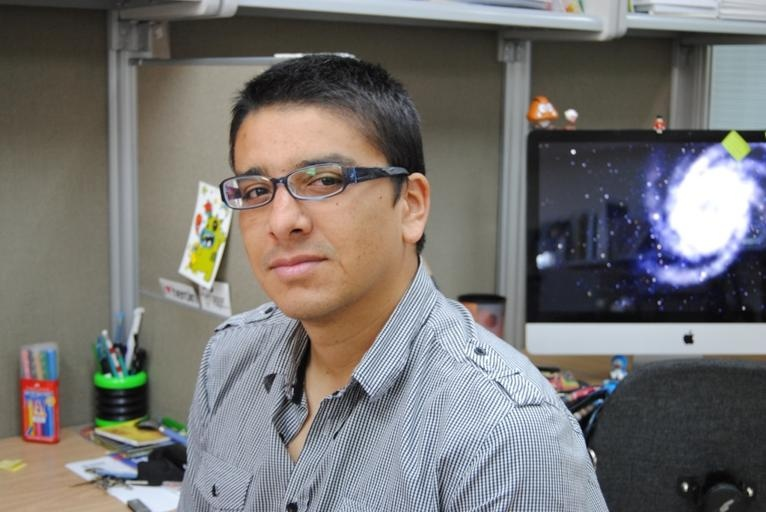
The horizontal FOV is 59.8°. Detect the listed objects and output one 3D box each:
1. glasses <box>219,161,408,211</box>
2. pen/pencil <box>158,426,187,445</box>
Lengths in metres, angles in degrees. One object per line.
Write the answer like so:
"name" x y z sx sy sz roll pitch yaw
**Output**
"glasses" -0.106 -0.105 0.960 0.281 0.062 0.085 -3 14 2
"pen/pencil" -0.506 0.429 1.597 0.079 0.014 0.011 27 8 16
